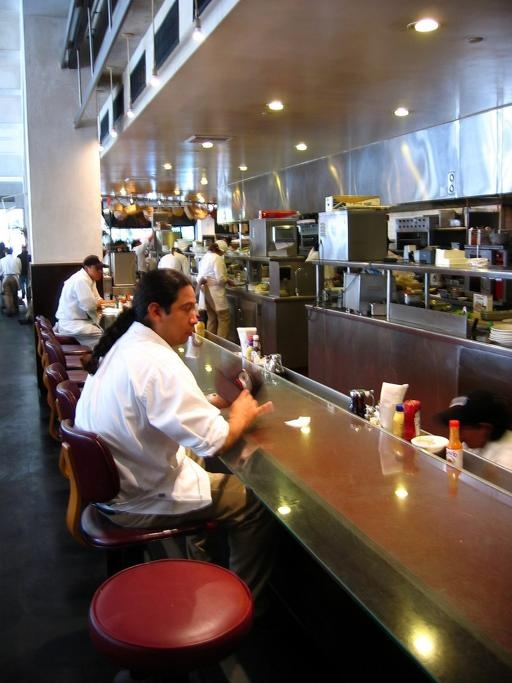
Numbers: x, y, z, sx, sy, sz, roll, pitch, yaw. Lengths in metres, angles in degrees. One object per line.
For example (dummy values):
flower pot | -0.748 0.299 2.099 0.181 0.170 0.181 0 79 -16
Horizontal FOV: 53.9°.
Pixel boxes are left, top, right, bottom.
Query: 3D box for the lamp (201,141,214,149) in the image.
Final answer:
lamp | -0.611 -2.502 6.421 0.121 0.029 0.124 3 8 5

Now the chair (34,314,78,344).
chair | -1.934 -0.120 4.932 0.302 0.380 0.272 -1 8 -21

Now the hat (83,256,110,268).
hat | -1.636 -0.805 5.130 0.188 0.120 0.127 -6 9 -10

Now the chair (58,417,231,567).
chair | -0.419 0.510 1.803 0.482 0.743 0.529 -4 6 -27

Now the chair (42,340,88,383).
chair | -1.361 0.149 3.605 0.274 0.425 0.314 -4 13 -24

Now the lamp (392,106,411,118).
lamp | 1.392 -2.188 4.817 0.121 0.030 0.124 -2 -2 42

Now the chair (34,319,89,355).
chair | -1.794 -0.044 4.736 0.330 0.418 0.299 -1 9 -18

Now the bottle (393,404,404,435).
bottle | 0.486 0.266 1.725 0.034 0.107 0.076 3 7 7

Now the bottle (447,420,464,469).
bottle | 0.598 0.308 1.510 0.045 0.136 0.122 3 7 10

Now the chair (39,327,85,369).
chair | -1.627 0.051 4.262 0.343 0.434 0.315 -3 13 -20

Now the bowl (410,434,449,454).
bowl | 0.567 0.332 1.631 0.112 0.031 0.122 3 7 0

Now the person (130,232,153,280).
person | -2.705 -1.831 11.440 0.339 1.237 0.517 14 2 6

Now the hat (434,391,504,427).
hat | 0.860 0.302 2.040 0.220 0.120 0.158 9 -5 15
